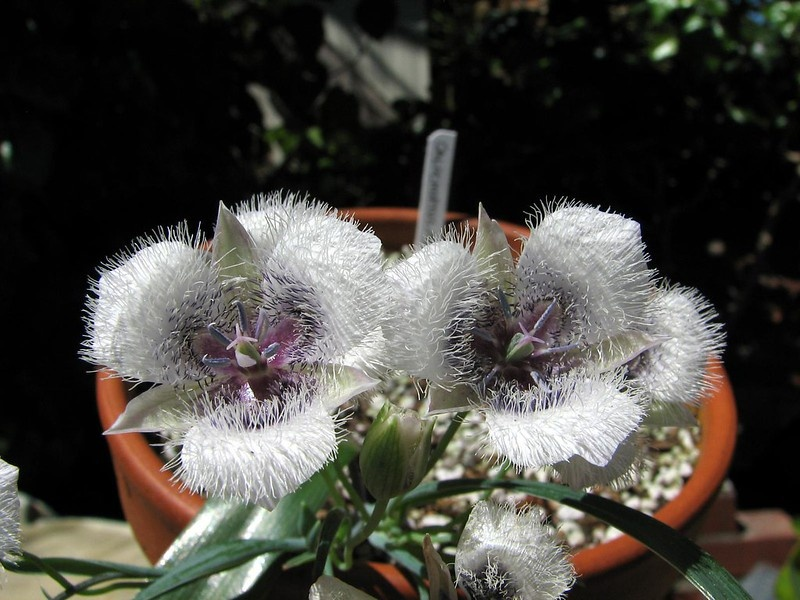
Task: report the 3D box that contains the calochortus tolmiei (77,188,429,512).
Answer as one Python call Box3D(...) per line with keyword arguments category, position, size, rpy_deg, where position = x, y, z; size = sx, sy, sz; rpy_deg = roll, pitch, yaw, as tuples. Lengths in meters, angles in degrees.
Box3D(category="calochortus tolmiei", position=(-0.185, 0.040, 0.932), size=(0.325, 0.260, 0.296), rpy_deg=(26, 40, 29))

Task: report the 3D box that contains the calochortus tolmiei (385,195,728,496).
Box3D(category="calochortus tolmiei", position=(0.185, 0.029, 0.946), size=(0.341, 0.230, 0.290), rpy_deg=(-25, 43, -36))
